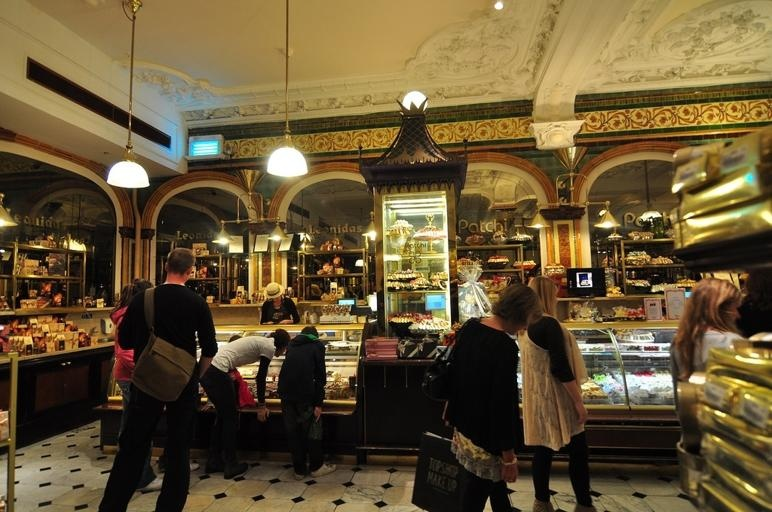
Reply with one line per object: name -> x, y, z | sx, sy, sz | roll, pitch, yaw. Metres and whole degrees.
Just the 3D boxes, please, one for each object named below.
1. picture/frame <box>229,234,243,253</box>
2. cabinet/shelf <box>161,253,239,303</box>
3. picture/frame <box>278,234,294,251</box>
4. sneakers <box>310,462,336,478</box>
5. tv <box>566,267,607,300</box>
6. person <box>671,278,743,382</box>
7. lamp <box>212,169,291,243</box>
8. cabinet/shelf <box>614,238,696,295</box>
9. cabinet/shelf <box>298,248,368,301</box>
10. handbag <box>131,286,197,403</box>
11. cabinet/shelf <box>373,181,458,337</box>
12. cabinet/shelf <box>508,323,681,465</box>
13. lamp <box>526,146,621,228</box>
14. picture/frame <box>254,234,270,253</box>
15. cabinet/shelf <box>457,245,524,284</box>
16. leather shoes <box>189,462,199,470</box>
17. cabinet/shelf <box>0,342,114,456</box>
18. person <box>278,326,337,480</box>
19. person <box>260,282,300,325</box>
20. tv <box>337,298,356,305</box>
picture/frame -> -2.993, -0.235, 11.344 | 0.411, 0.426, 0.059 | 0, -7, -8
cabinet/shelf -> -3.842, 0.490, 11.629 | 1.526, 0.945, 0.503 | -4, -4, 18
picture/frame -> -1.955, -0.256, 11.111 | 0.232, 0.351, 0.324 | -2, -3, -4
sneakers -> -0.811, 2.769, 7.376 | 0.344, 0.125, 0.122 | 0, -5, -22
tv -> 3.343, 0.453, 9.748 | 0.872, 0.658, 0.447 | 0, -9, 13
person -> 3.285, 0.759, 5.804 | 0.737, 1.044, 0.276 | -2, -3, 0
lamp -> -2.704, -0.985, 11.205 | 1.612, 1.350, 0.613 | -6, 6, -40
cabinet/shelf -> 4.294, 0.195, 9.263 | 1.085, 0.815, 0.358 | -2, -8, 13
cabinet/shelf -> -1.089, 0.392, 11.620 | 1.436, 0.996, 1.074 | -2, -3, -5
handbag -> -2.520, 0.965, 6.765 | 0.709, 1.006, 1.144 | 20, 20, -9
cabinet/shelf -> 0.431, 0.087, 7.942 | 1.055, 1.992, 0.312 | -3, -3, 5
cabinet/shelf -> 2.853, 1.861, 8.162 | 3.141, 2.049, 1.710 | -1, -7, 11
lamp -> 3.408, -1.242, 10.413 | 1.682, 1.364, 0.538 | 0, 8, 29
picture/frame -> -2.394, -0.242, 10.979 | 0.390, 0.492, 0.049 | -2, -22, -2
cabinet/shelf -> 1.901, 0.161, 10.470 | 0.796, 0.666, 0.243 | -1, 2, -1
leather shoes -> -2.538, 2.795, 7.550 | 0.087, 0.033, 0.116 | 1, -1, -7
cabinet/shelf -> -4.828, 2.111, 8.281 | 0.620, 1.034, 1.863 | -2, -2, 5
person -> -1.056, 1.898, 7.419 | 0.683, 1.887, 0.284 | -2, -3, -10
person -> -1.959, 0.871, 10.311 | 0.527, 0.833, 0.445 | -6, -32, 0
tv -> -0.741, 0.859, 10.537 | 0.320, 0.112, 0.732 | -2, -3, -5
